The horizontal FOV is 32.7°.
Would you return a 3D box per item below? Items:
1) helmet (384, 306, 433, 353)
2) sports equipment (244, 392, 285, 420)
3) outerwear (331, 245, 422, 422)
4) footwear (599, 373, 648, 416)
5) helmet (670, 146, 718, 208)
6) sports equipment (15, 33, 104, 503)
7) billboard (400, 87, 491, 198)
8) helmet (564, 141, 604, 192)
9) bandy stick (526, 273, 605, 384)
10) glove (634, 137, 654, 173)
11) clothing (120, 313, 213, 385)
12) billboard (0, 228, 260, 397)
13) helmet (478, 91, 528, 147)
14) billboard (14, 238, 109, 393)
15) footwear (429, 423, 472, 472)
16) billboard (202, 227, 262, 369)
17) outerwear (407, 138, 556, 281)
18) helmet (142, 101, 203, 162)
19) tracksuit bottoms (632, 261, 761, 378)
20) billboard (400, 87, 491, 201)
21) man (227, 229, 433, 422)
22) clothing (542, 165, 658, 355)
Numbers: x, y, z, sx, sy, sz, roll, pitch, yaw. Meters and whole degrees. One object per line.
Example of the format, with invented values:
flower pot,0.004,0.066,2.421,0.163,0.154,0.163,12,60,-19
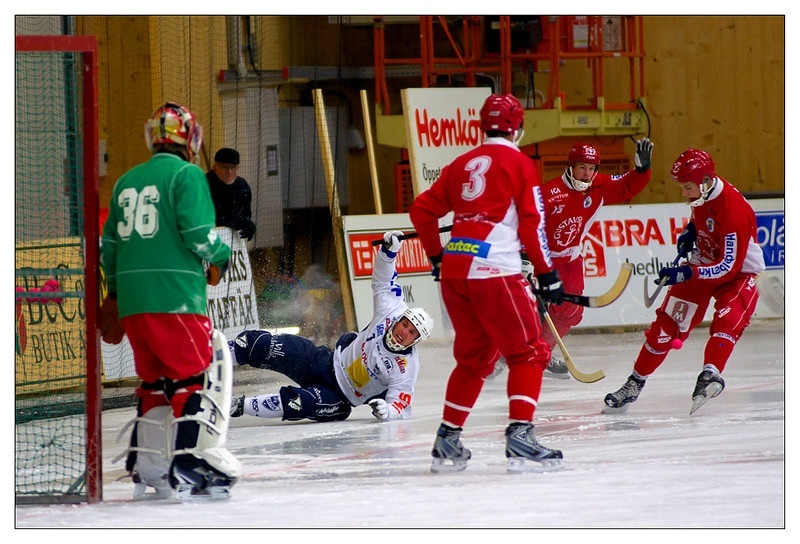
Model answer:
helmet,0.107,0.523,12.841,0.427,0.343,0.439,-36,-4,11
sports equipment,-1.261,1.219,12.607,0.283,0.214,0.155,0,-17,-9
outerwear,-0.202,0.780,12.797,0.477,1.041,1.373,-4,-28,-38
footwear,2.153,1.142,12.984,0.468,0.325,0.168,-7,23,-32
helmet,2.819,-0.934,12.904,0.397,0.557,0.373,-14,27,9
sports equipment,-3.220,-0.215,12.732,0.891,3.956,3.658,-2,5,-13
billboard,0.644,-1.461,16.247,1.280,1.455,0.084,1,7,42
helmet,1.883,-1.079,14.047,0.298,0.487,0.468,10,13,-9
bandy stick,1.667,0.598,13.740,0.273,0.043,1.482,-20,46,5
glove,2.462,-1.163,13.685,0.223,0.410,0.102,2,13,6
clothing,-1.897,0.583,11.280,0.729,0.665,0.506,-2,13,22
billboard,-2.835,0.699,13.576,2.976,0.157,1.738,-8,-20,-38
helmet,0.888,-1.265,11.907,0.388,0.580,0.516,4,-1,15
billboard,-3.002,0.369,12.002,0.042,1.354,1.175,3,-8,-44
footwear,0.523,1.521,11.613,0.192,0.408,0.522,0,-4,34
billboard,-1.673,0.284,13.378,0.103,1.560,1.329,-3,5,13
outerwear,0.716,-0.540,12.464,1.413,1.495,0.694,1,-4,28
helmet,-1.902,-1.192,11.466,0.380,0.487,0.481,5,12,11
tracksuit bottoms,2.893,0.553,13.039,1.027,0.566,1.833,2,28,35
billboard,0.516,-1.416,14.766,0.113,1.576,1.414,-1,3,45
man,-0.552,0.574,13.272,1.880,1.937,1.501,11,34,-20
clothing,2.228,-0.043,15.182,1.415,2.626,0.821,-11,36,-16
